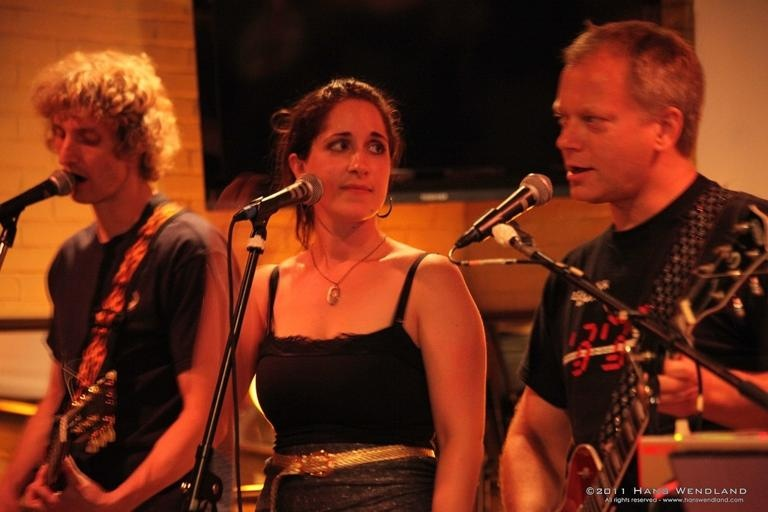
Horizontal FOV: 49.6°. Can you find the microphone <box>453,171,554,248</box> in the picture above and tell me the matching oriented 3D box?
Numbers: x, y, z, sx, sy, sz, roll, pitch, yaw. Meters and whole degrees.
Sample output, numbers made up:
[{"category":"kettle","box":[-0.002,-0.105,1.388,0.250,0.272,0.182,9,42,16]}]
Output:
[{"category":"microphone","box":[0.399,-0.148,2.839,0.288,0.275,0.166,1,9,-24]}]

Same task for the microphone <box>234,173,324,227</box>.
[{"category":"microphone","box":[-0.334,-0.194,2.879,0.115,0.119,0.392,-4,12,46]}]
